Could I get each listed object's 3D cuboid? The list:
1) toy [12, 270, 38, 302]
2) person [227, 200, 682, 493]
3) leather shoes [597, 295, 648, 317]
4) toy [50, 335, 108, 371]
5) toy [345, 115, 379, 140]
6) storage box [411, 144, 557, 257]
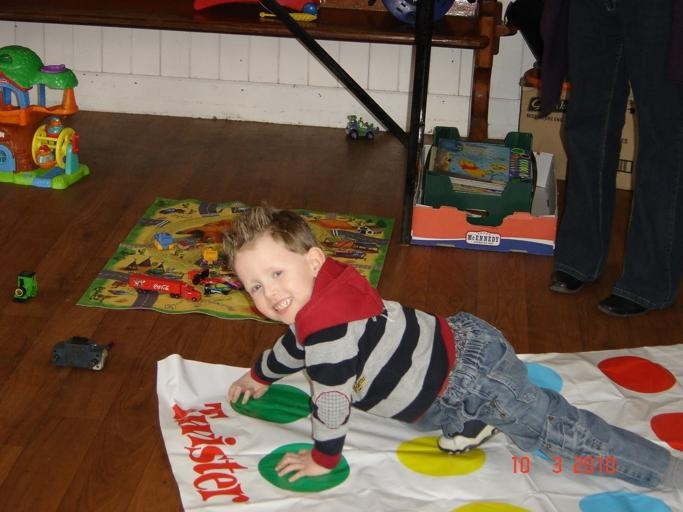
[{"bbox_3d":[-0.964,0.095,1.733,0.064,0.081,0.084,12,18,0],"label":"toy"},{"bbox_3d":[0.165,0.134,1.306,1.213,0.489,0.431,11,58,4],"label":"person"},{"bbox_3d":[0.861,0.152,1.751,0.128,0.035,0.067,0,29,-5],"label":"leather shoes"},{"bbox_3d":[-0.684,0.257,1.482,0.150,0.079,0.082,7,28,1],"label":"toy"},{"bbox_3d":[0.108,-0.673,2.982,0.178,0.108,0.159,4,23,7],"label":"toy"},{"bbox_3d":[0.550,-0.141,2.132,0.532,0.176,0.537,1,35,4],"label":"storage box"}]
